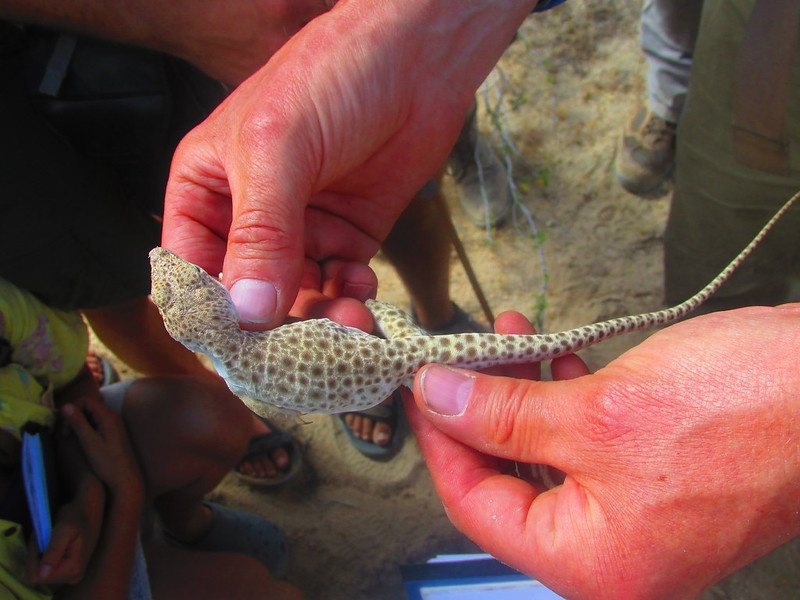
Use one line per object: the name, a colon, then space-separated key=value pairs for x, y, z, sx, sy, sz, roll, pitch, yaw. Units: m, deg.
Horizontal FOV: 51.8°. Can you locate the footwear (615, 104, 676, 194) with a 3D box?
footwear: x=1.415 y=-0.761 z=4.615 sx=0.300 sy=0.212 sz=0.565 roll=11 pitch=42 yaw=35

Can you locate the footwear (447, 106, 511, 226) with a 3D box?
footwear: x=0.431 y=-0.711 z=4.570 sx=0.188 sy=0.349 sz=0.619 roll=-19 pitch=79 yaw=18
